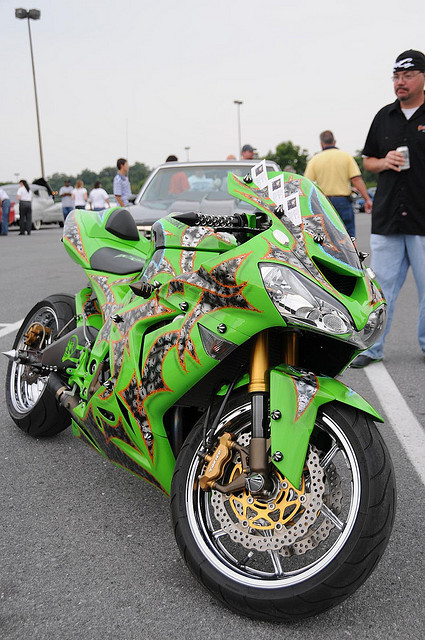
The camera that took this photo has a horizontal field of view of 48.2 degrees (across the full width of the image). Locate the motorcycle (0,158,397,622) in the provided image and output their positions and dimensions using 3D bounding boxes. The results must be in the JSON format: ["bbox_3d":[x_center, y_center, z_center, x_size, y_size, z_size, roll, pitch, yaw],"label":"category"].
[{"bbox_3d":[-0.043,0.196,2.511,0.988,1.495,2.688,16,-1,-34],"label":"motorcycle"}]
